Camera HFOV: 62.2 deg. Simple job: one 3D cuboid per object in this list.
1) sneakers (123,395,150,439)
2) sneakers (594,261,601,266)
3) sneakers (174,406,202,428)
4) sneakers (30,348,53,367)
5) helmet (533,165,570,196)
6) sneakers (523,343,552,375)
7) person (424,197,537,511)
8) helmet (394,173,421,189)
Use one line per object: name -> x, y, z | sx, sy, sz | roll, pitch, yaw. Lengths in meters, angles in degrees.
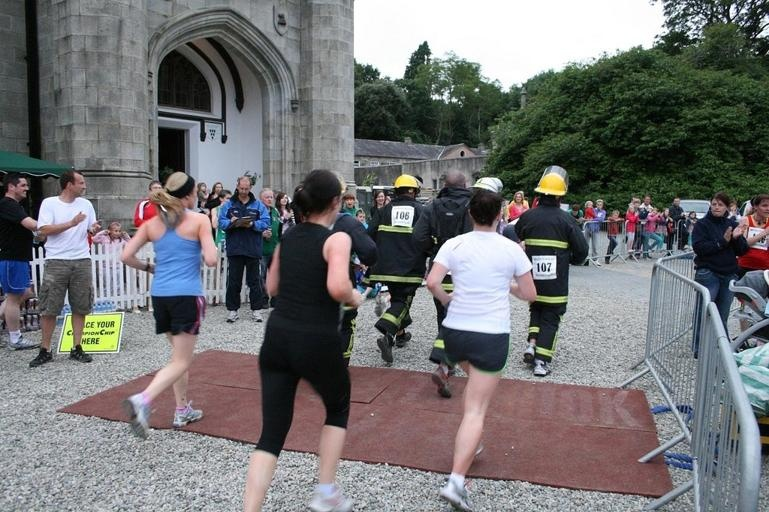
sneakers -> -2.222, 1.452, 5.804 | 0.154, 0.425, 0.194 | -13, 1, 0
sneakers -> 6.457, 0.238, 19.170 | 0.133, 0.185, 0.443 | -3, -3, 24
sneakers -> -2.112, 1.716, 6.806 | 0.143, 0.199, 0.373 | 4, 7, 31
sneakers -> -4.570, 1.368, 8.504 | 0.129, 0.185, 0.331 | 1, 1, 11
helmet -> 2.265, -0.936, 8.529 | 0.360, 0.247, 0.505 | 10, 34, 18
sneakers -> 1.980, 1.402, 8.288 | 0.195, 0.547, 0.253 | -1, 44, 27
person -> 0.782, 0.809, 5.751 | 0.825, 2.735, 0.987 | 8, 16, 28
helmet -> 0.321, -1.026, 8.742 | 0.304, 0.152, 0.216 | -6, 12, -28
